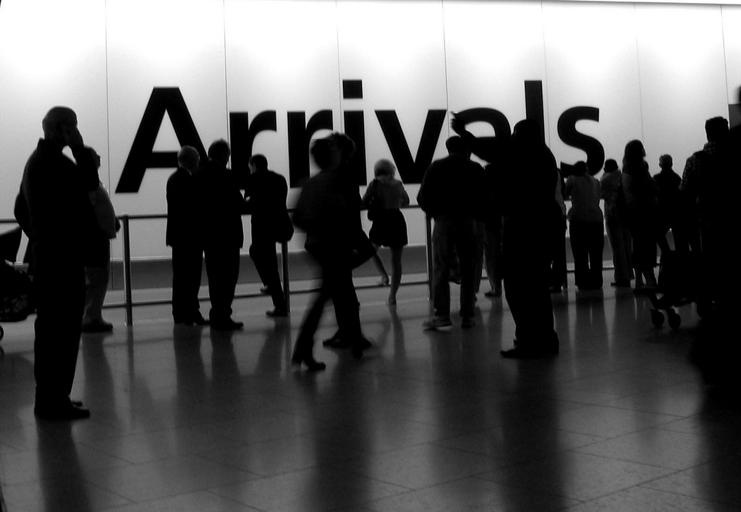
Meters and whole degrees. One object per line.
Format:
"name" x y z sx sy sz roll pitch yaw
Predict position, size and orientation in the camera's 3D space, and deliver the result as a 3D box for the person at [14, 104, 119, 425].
"person" -2.272 0.034 5.026 0.496 2.454 0.286 -3 1 -25
